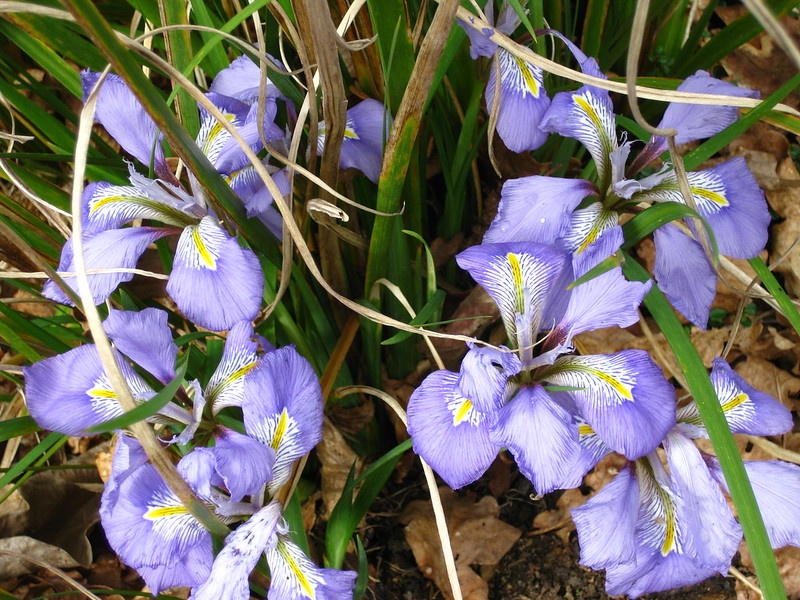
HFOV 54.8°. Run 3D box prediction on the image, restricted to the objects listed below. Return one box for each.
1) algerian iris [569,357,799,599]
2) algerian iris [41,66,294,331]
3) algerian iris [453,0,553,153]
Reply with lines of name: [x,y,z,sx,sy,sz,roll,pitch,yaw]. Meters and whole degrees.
algerian iris: [0.639,0.499,2.060,0.533,0.151,0.643,-24,85,1]
algerian iris: [-0.535,-0.185,2.068,0.615,0.225,0.684,34,92,10]
algerian iris: [0.285,-0.621,2.130,0.233,0.152,0.426,-19,85,7]
